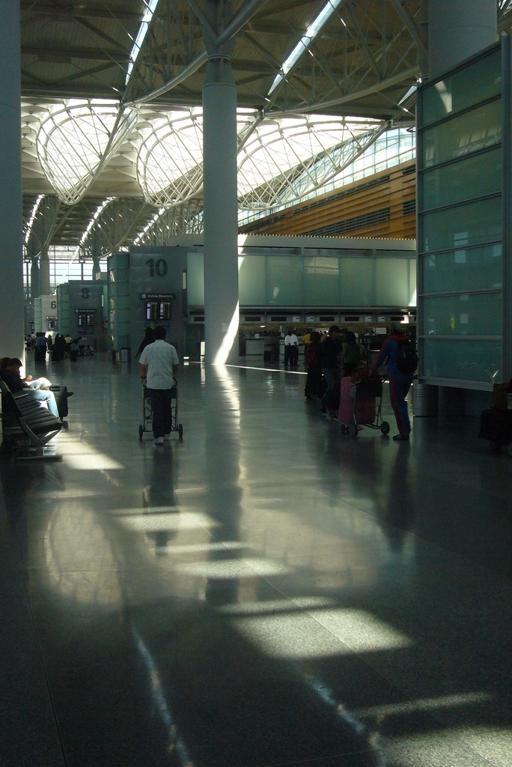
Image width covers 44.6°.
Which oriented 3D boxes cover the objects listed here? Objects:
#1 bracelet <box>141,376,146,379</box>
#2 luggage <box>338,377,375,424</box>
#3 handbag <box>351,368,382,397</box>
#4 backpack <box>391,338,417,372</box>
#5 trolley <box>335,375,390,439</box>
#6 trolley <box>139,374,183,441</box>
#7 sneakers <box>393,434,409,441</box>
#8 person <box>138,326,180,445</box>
[{"bbox_3d":[-1.763,-0.104,9.831,0.045,0.058,0.052,1,-4,6],"label":"bracelet"},{"bbox_3d":[1.695,0.273,10.468,0.603,0.857,0.639,4,17,8],"label":"luggage"},{"bbox_3d":[1.836,0.023,10.299,0.492,0.525,0.385,1,-2,-22],"label":"handbag"},{"bbox_3d":[2.277,-0.407,9.576,0.378,0.744,0.488,-3,-2,25],"label":"backpack"},{"bbox_3d":[1.766,0.361,10.514,0.580,0.984,0.892,1,1,-16],"label":"trolley"},{"bbox_3d":[-1.613,0.388,10.453,0.923,1.106,0.962,2,5,16],"label":"trolley"},{"bbox_3d":[2.209,0.832,9.608,0.188,0.087,0.095,6,-1,18],"label":"sneakers"},{"bbox_3d":[-1.500,0.019,9.719,0.542,1.785,0.685,-1,1,-10],"label":"person"}]
